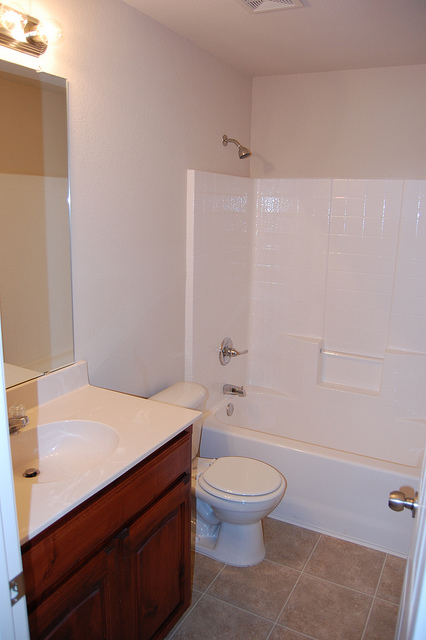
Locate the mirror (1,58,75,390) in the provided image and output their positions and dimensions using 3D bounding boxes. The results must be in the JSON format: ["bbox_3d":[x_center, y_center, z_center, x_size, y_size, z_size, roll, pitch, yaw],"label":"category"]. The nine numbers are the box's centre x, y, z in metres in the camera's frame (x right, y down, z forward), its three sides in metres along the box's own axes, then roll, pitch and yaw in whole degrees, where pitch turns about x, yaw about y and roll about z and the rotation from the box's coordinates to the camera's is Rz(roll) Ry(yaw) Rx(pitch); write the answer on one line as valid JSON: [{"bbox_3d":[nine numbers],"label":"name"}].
[{"bbox_3d":[-0.563,-0.289,1.472,0.115,0.966,0.337,3,9,13],"label":"mirror"}]

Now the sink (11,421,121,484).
[{"bbox_3d":[-0.415,0.364,1.311,0.288,0.109,0.216,-2,9,-21],"label":"sink"}]

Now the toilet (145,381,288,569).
[{"bbox_3d":[0.022,0.740,2.465,0.807,0.939,0.518,3,9,23],"label":"toilet"}]

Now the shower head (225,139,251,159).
[{"bbox_3d":[0.162,-1.055,2.867,0.132,0.103,0.284,3,9,12],"label":"shower head"}]
